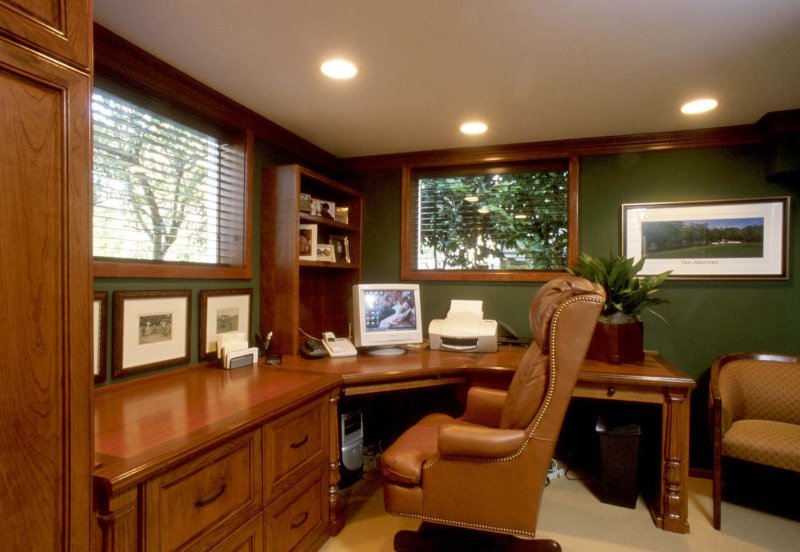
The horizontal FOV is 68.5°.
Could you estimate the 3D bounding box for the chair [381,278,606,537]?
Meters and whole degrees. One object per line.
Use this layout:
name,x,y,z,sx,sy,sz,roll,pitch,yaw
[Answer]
chair,0.491,0.641,3.191,1.077,1.238,0.864,1,5,21

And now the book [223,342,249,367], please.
book,-0.990,0.468,3.524,0.035,0.125,0.137,-10,-7,19

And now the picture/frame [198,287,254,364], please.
picture/frame,-1.077,0.306,3.573,0.032,0.440,0.437,-1,-4,25

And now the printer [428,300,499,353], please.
printer,0.421,0.360,3.980,0.375,0.247,0.370,0,2,14

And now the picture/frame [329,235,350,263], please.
picture/frame,-0.451,-0.202,4.469,0.049,0.190,0.211,-3,5,17

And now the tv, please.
tv,-0.093,0.298,3.995,0.408,0.368,0.207,4,-13,-30

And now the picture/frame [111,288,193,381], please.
picture/frame,-1.366,0.321,3.191,0.039,0.498,0.495,1,0,32

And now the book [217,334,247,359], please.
book,-1.020,0.418,3.571,0.041,0.142,0.159,-15,-12,30
